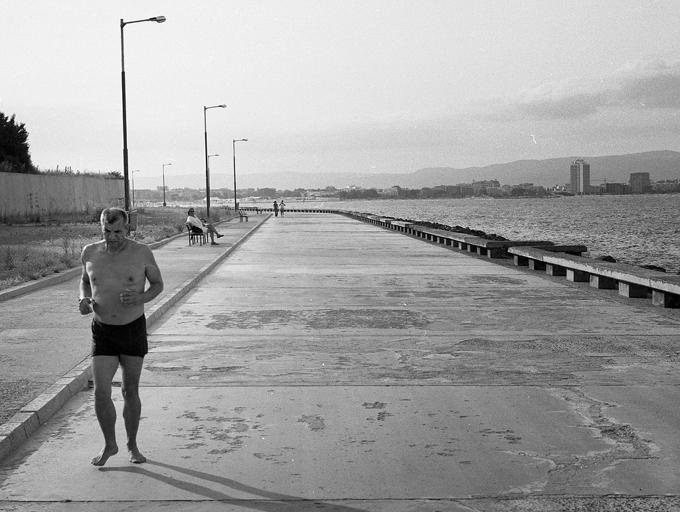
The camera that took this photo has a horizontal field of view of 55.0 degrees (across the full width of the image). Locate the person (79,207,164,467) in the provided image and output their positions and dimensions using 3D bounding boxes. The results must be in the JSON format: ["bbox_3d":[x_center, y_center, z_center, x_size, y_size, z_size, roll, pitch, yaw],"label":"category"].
[{"bbox_3d":[-1.908,0.700,5.699,0.664,2.212,0.537,-2,5,-19],"label":"person"}]
